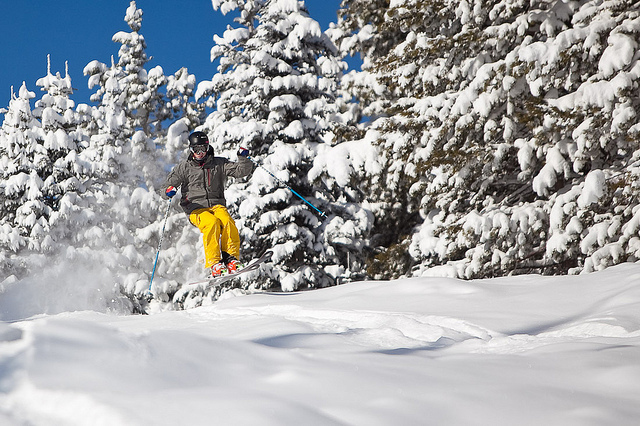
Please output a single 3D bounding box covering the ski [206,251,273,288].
[{"bbox_3d":[-1.994,1.411,20.671,2.015,0.160,0.296,-32,-24,-6],"label":"ski"}]
